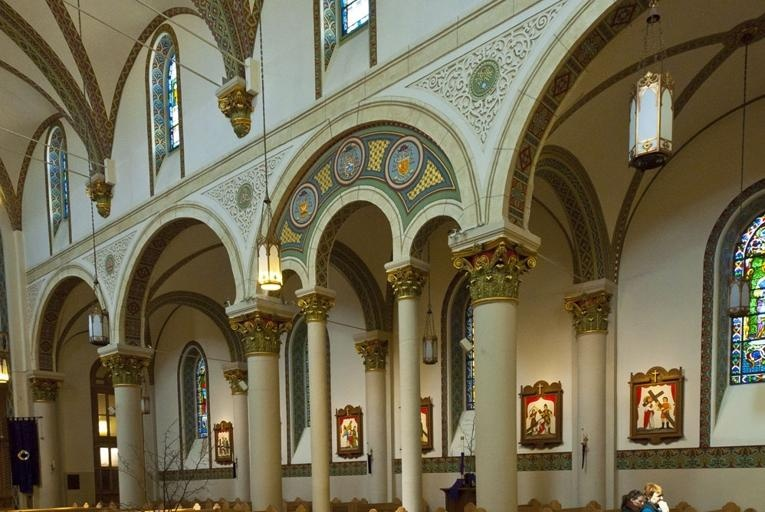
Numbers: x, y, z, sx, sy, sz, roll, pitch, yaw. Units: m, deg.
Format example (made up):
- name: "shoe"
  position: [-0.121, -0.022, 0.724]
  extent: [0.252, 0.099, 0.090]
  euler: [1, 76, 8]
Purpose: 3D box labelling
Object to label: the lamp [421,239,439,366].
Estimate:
- name: "lamp"
  position: [1.237, 1.271, 25.699]
  extent: [0.473, 3.361, 1.340]
  euler: [-3, -15, 3]
